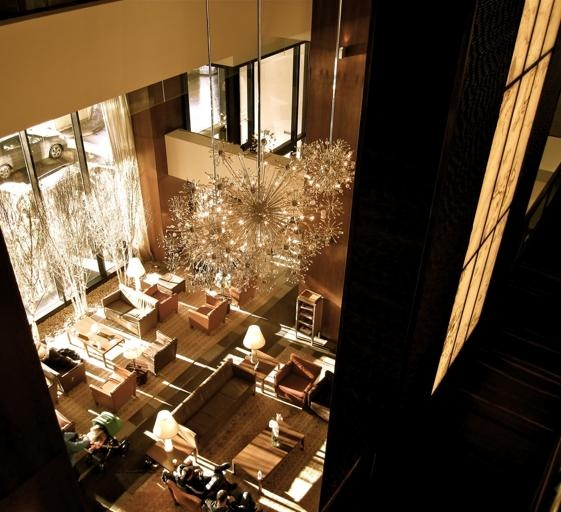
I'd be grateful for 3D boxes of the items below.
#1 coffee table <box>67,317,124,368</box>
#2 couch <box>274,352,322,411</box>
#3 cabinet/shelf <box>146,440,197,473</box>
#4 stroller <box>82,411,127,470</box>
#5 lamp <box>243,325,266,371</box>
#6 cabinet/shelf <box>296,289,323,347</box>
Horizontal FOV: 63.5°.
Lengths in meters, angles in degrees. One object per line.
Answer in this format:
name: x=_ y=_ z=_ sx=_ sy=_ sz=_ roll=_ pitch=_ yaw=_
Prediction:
coffee table: x=-4.203 y=1.899 z=10.405 sx=1.392 sy=0.731 sz=0.768 roll=26 pitch=47 yaw=28
couch: x=0.360 y=2.681 z=9.428 sx=0.797 sy=1.091 sz=0.935 roll=21 pitch=37 yaw=21
cabinet/shelf: x=-1.947 y=3.478 z=7.907 sx=0.418 sy=0.121 sz=0.450 roll=24 pitch=42 yaw=27
stroller: x=-3.064 y=3.193 z=8.108 sx=0.530 sy=0.957 sz=0.866 roll=6 pitch=8 yaw=26
lamp: x=-0.557 y=2.016 z=9.735 sx=0.438 sy=0.956 sz=0.492 roll=14 pitch=38 yaw=22
cabinet/shelf: x=0.649 y=1.384 z=10.557 sx=0.621 sy=1.132 sz=0.461 roll=15 pitch=31 yaw=26
